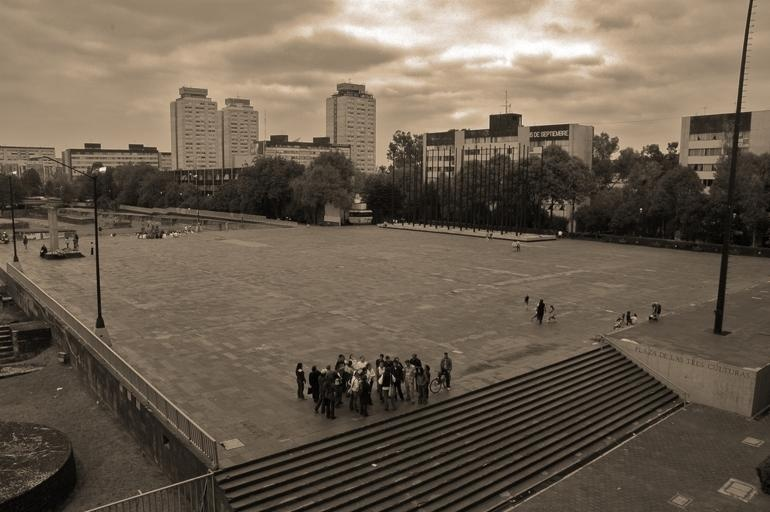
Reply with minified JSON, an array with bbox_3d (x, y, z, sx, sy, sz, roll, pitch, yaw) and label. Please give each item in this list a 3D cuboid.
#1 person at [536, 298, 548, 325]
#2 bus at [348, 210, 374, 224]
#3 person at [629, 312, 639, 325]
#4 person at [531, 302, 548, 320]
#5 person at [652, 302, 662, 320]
[{"bbox_3d":[9.505,3.325,44.797,0.587,1.413,1.862,1,6,12],"label":"person"},{"bbox_3d":[-3.119,-5.503,100.899,4.402,2.006,3.492,-4,6,-29],"label":"bus"},{"bbox_3d":[15.009,3.811,44.323,0.320,0.819,0.578,5,-11,-27],"label":"person"},{"bbox_3d":[9.488,3.437,45.227,0.755,1.214,0.532,20,26,39],"label":"person"},{"bbox_3d":[16.848,3.328,45.475,0.465,0.968,1.468,1,6,19],"label":"person"}]
